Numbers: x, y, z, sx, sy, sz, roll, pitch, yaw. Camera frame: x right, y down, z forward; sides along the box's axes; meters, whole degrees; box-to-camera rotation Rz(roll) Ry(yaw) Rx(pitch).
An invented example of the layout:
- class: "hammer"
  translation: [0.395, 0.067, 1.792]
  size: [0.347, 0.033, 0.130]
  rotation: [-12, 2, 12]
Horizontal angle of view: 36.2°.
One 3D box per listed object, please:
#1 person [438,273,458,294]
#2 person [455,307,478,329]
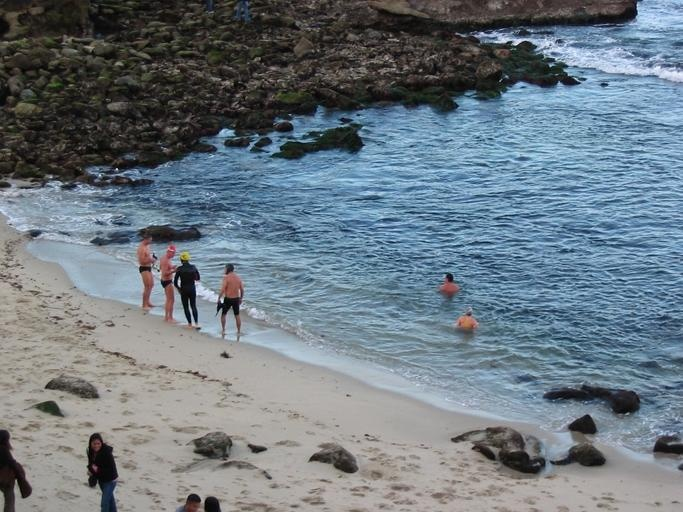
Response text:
- class: "person"
  translation: [4.067, 1.087, 39.907]
  size: [1.197, 0.642, 0.571]
  rotation: [-2, 14, 6]
- class: "person"
  translation: [4.542, 2.264, 37.842]
  size: [0.788, 0.806, 0.371]
  rotation: [3, 22, 9]
